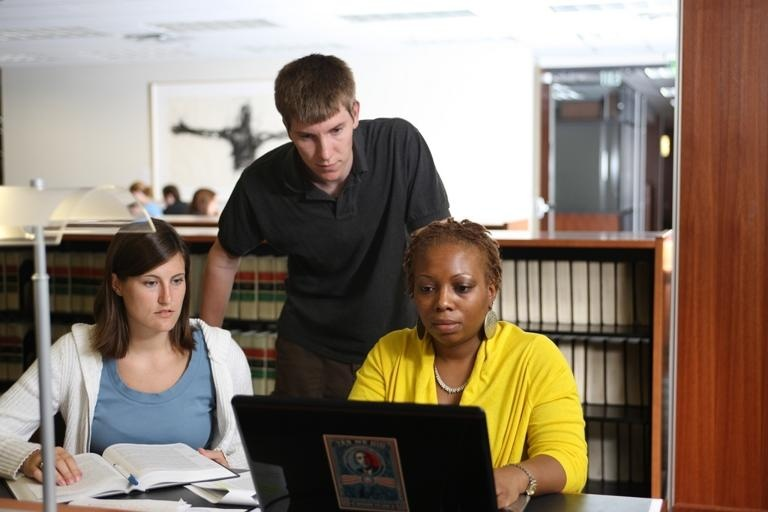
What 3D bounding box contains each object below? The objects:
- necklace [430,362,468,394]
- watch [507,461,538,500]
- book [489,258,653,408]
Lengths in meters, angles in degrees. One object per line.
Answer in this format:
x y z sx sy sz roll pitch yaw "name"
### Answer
0.239 0.451 2.997 0.098 0.101 0.024 1 -8 2 "necklace"
0.461 0.761 2.763 0.079 0.104 0.037 -6 -32 -36 "watch"
0.959 0.379 3.965 0.778 0.772 0.257 0 0 12 "book"
